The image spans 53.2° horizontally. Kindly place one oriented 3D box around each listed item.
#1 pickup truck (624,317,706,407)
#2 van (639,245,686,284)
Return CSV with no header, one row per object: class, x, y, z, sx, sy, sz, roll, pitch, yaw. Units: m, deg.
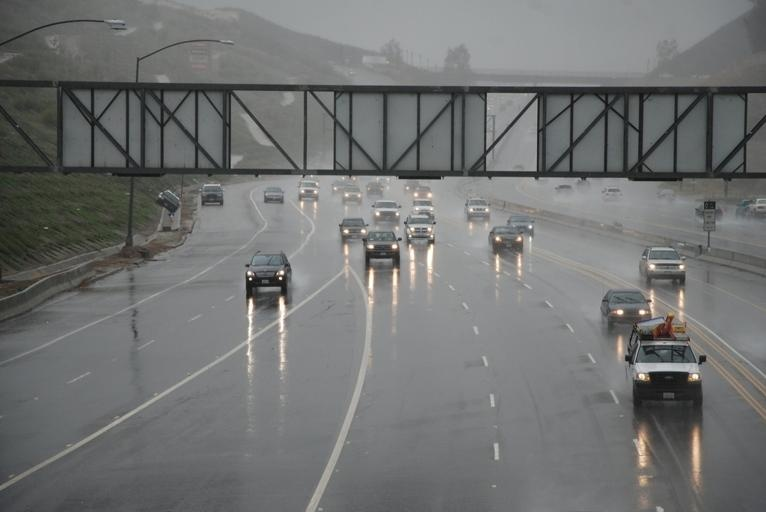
pickup truck,8.520,3.210,23.521,1.587,1.801,3.567,-1,-4,7
van,15.711,0.431,43.913,1.411,1.466,3.065,0,-3,4
